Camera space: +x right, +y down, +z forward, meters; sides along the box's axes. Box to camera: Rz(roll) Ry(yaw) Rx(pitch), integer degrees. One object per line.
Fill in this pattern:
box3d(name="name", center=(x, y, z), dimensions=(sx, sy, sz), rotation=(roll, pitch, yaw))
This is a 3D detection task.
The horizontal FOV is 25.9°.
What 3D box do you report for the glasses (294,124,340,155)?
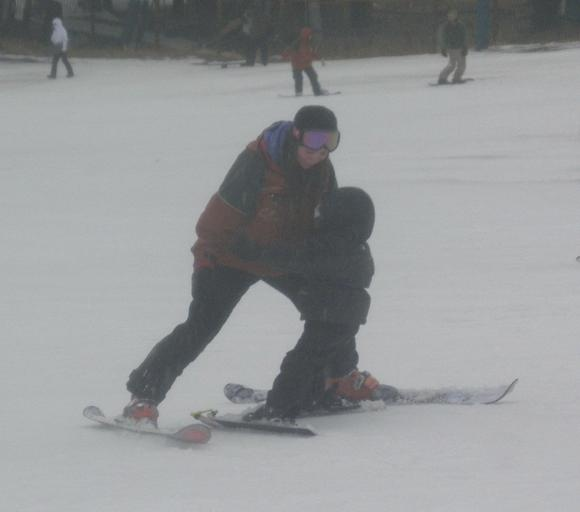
box3d(name="glasses", center=(0.124, -0.547, 5.875), dimensions=(0.228, 0.119, 0.112), rotation=(-5, 15, -12))
